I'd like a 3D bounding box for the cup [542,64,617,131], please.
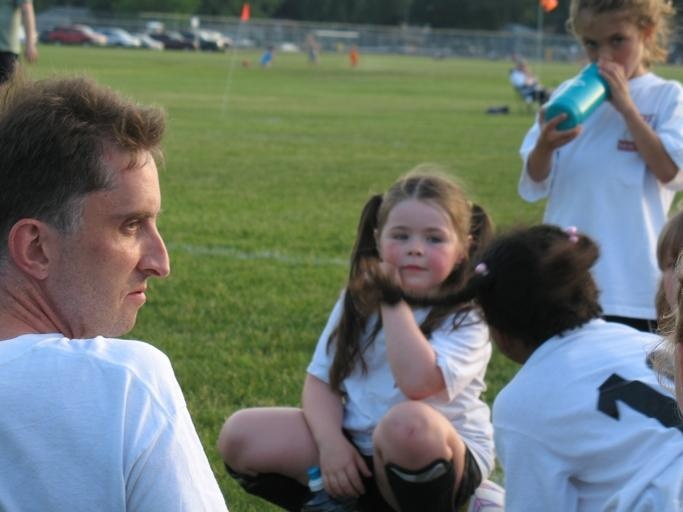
[{"bbox_3d":[0.911,-0.621,6.506,0.205,0.252,0.243,15,16,27],"label":"cup"}]
